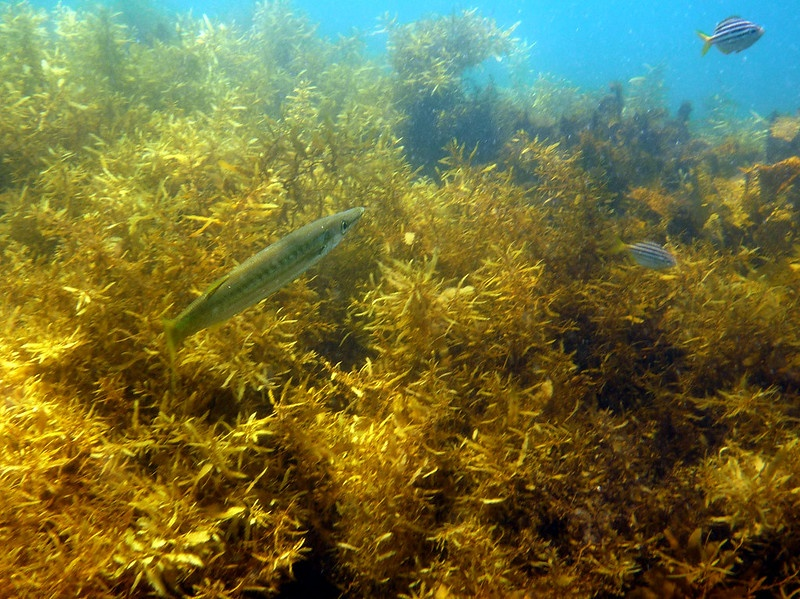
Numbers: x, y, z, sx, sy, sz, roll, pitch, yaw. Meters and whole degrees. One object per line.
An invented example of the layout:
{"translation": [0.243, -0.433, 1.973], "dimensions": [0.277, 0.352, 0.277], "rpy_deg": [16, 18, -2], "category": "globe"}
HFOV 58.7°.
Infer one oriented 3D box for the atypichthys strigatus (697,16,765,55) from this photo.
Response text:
{"translation": [4.898, -3.911, 10.600], "dimensions": [0.517, 0.551, 0.779], "rpy_deg": [-27, 47, -30], "category": "atypichthys strigatus"}
